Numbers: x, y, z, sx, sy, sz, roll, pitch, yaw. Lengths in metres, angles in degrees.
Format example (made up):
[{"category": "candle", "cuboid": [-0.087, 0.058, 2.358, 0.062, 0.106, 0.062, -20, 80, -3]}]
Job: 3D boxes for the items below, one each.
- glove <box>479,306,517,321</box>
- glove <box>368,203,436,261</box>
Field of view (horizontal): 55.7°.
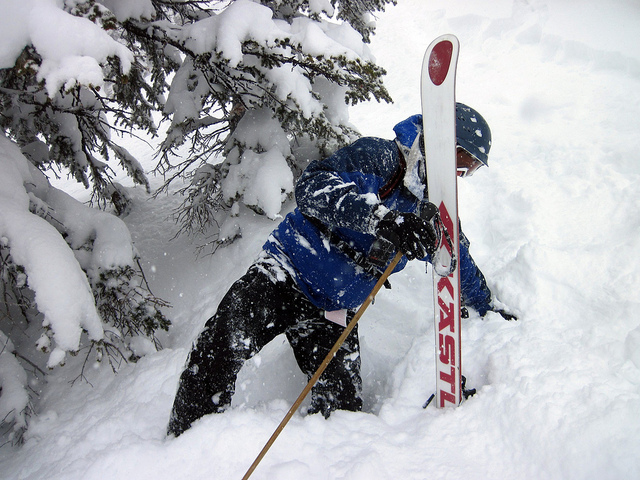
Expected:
[{"category": "glove", "cuboid": [1.973, 0.809, 6.678, 0.044, 0.054, 0.324, -19, 32, -30]}, {"category": "glove", "cuboid": [0.749, -0.085, 5.587, 0.608, 0.525, 0.188, 1, 21, 15]}]
